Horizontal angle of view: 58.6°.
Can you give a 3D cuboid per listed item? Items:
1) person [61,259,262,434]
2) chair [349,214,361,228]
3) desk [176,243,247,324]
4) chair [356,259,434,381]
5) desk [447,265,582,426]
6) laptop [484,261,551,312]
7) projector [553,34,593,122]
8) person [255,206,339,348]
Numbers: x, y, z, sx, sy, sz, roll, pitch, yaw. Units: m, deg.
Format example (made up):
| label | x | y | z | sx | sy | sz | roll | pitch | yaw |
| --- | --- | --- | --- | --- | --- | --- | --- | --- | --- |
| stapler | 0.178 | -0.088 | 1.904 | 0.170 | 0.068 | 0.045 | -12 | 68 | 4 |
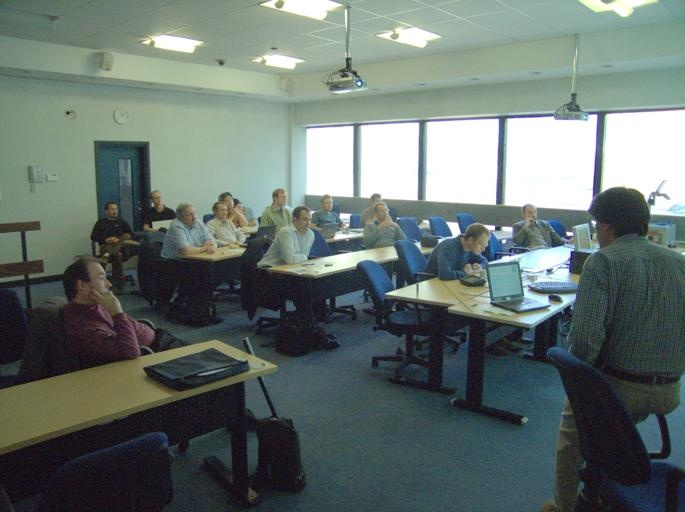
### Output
| label | x | y | z | sx | sy | sz | roll | pitch | yaw |
| --- | --- | --- | --- | --- | --- | --- | --- | --- | --- |
| person | -1.422 | 0.710 | 4.210 | 0.867 | 1.415 | 0.766 | -8 | 16 | -16 |
| chair | 0.238 | -0.561 | 9.914 | 0.217 | 0.228 | 0.197 | -2 | -2 | 19 |
| desk | -1.563 | 0.312 | 7.223 | 0.360 | 0.465 | 0.929 | 3 | 6 | 19 |
| chair | 0.588 | 0.572 | 5.668 | 0.841 | 1.003 | 0.825 | -4 | 6 | -34 |
| desk | 1.562 | 0.793 | 5.558 | 0.755 | 0.825 | 1.761 | 2 | 7 | 32 |
| laptop | 1.428 | 0.244 | 4.936 | 0.436 | 0.328 | 0.488 | 8 | 12 | 36 |
| projector | 3.024 | -2.278 | 7.935 | 0.436 | 1.035 | 0.548 | 7 | 9 | 34 |
| person | -0.520 | 0.207 | 6.675 | 0.815 | 1.404 | 0.883 | -1 | 11 | -29 |
